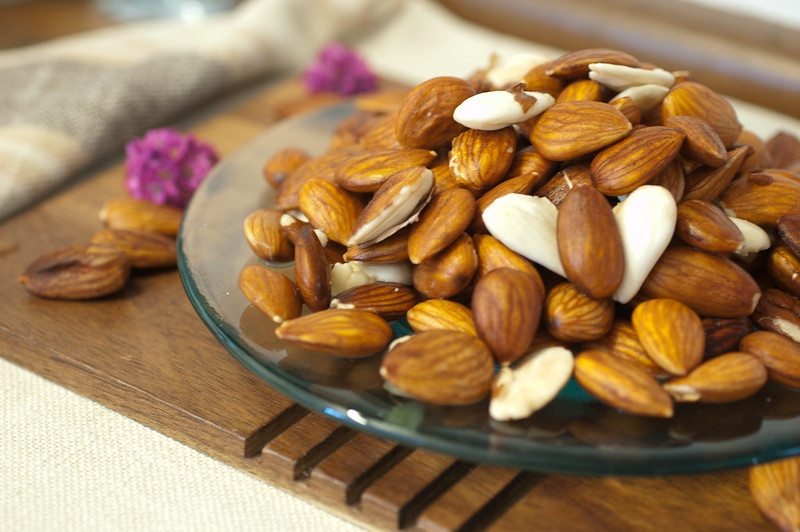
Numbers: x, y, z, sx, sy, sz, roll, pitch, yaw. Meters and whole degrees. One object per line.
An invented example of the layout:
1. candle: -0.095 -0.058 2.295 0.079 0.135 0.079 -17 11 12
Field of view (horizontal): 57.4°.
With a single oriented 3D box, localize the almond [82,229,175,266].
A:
1. almond: -0.340 -0.018 0.915 0.101 0.034 0.043 11 77 -22
